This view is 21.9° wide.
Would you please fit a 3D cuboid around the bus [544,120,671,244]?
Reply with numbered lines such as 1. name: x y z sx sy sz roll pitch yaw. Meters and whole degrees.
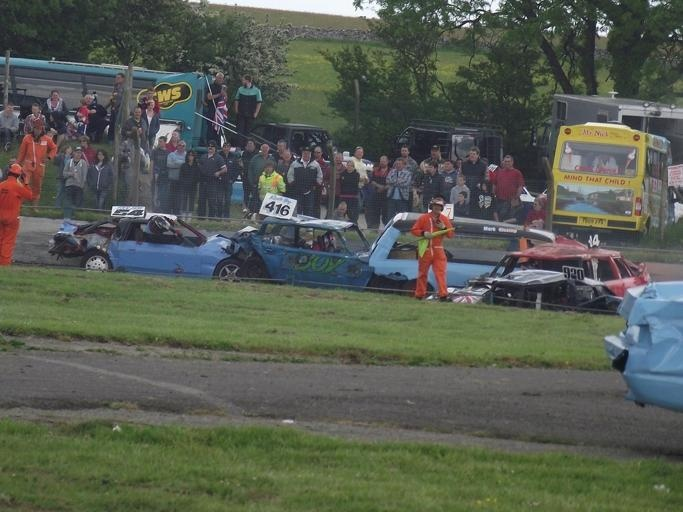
1. bus: 8.300 -2.505 53.835 2.423 2.835 4.429 3 9 25

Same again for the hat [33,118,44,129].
1. hat: -8.914 -3.865 51.762 0.344 0.332 0.273 -2 7 27

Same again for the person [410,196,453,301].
1. person: 2.323 -0.177 45.774 1.038 2.640 0.762 5 1 2

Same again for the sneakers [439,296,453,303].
1. sneakers: 2.659 1.138 45.402 0.378 0.130 0.179 -2 -3 10

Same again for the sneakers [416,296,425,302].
1. sneakers: 2.016 1.113 45.594 0.169 0.115 0.097 1 3 -8

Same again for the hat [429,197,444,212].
1. hat: 2.453 -1.315 46.026 0.315 0.402 0.400 -1 -8 -3
